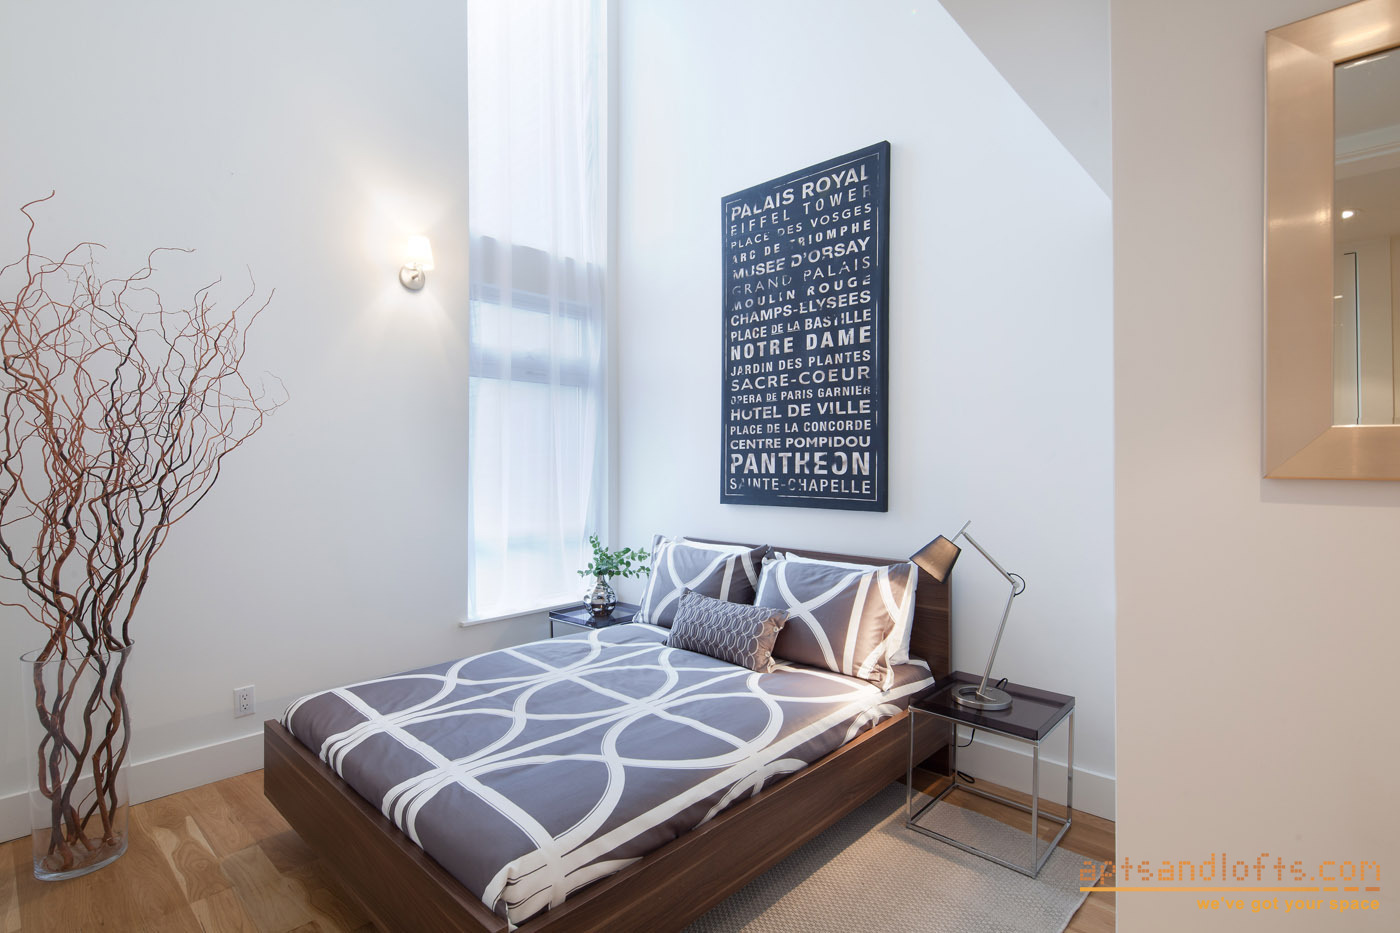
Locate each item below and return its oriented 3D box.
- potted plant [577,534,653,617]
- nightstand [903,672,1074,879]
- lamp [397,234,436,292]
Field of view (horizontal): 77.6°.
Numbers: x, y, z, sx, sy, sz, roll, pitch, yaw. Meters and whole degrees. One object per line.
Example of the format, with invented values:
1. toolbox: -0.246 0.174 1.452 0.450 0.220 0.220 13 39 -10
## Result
1. potted plant: -0.478 0.612 4.929 0.454 0.512 0.404 3 1 15
2. nightstand: 1.182 1.190 3.512 0.512 0.544 0.448 8 9 38
3. lamp: -1.448 -1.014 4.406 0.173 0.276 0.141 -5 14 -22
